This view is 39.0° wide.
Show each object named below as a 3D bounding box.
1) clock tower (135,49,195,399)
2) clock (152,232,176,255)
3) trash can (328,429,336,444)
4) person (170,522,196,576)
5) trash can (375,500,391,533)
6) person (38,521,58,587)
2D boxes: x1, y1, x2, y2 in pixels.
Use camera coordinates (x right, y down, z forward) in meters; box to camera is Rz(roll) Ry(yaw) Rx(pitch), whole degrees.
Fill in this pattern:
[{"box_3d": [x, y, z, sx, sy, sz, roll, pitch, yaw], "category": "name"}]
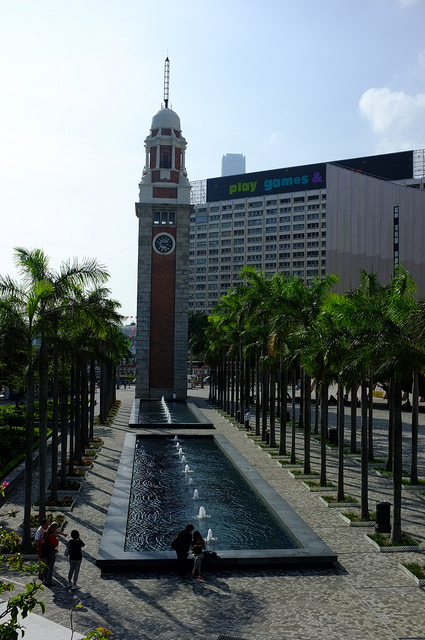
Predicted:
[{"box_3d": [-4.163, -4.713, 49.891, 4.484, 26.212, 3.347, -1, 0, -12], "category": "clock tower"}, {"box_3d": [-4.099, -6.253, 48.935, 1.299, 1.442, 0.128, -19, 1, 1], "category": "clock"}, {"box_3d": [5.436, 5.290, 27.306, 0.411, 0.876, 0.437, -1, -1, 11], "category": "trash can"}, {"box_3d": [-0.566, 4.292, 11.173, 0.378, 0.920, 0.506, -1, 0, -1], "category": "person"}, {"box_3d": [3.818, 4.421, 13.510, 0.341, 0.646, 0.296, -1, 0, 17], "category": "trash can"}, {"box_3d": [-2.871, 4.080, 10.474, 0.301, 1.115, 0.738, -1, 0, -16], "category": "person"}]
